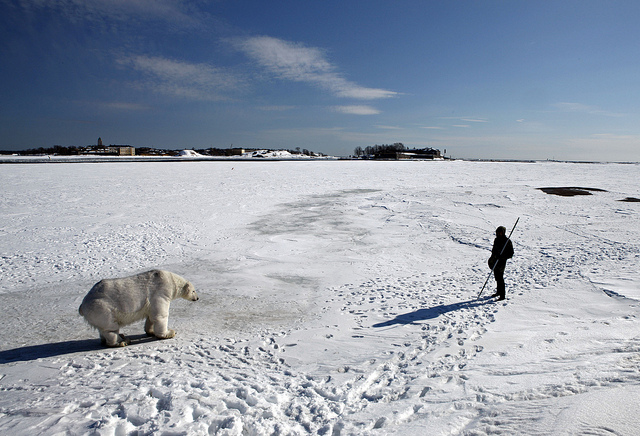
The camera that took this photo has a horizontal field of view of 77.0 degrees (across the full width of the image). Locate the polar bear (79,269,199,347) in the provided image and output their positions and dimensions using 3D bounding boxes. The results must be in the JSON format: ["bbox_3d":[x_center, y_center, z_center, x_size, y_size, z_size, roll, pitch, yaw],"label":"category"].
[{"bbox_3d":[-3.334,1.607,7.447,0.812,1.092,2.246,-8,-6,42],"label":"polar bear"}]

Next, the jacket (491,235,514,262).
[{"bbox_3d":[4.357,0.689,9.535,0.405,0.565,0.447,-3,16,-17],"label":"jacket"}]
